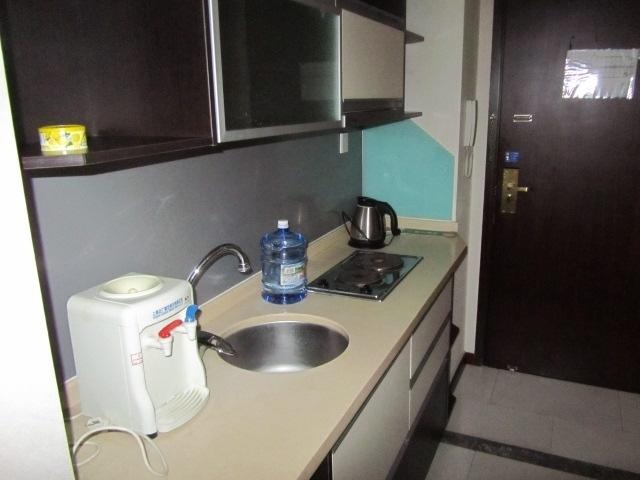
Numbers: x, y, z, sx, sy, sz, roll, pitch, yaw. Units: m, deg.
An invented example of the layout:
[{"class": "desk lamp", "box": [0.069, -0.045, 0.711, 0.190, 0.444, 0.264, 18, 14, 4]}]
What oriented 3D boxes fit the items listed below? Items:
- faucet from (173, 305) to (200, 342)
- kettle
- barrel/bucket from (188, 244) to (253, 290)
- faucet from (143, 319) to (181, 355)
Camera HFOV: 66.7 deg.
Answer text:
[{"class": "faucet", "box": [-0.363, 0.225, 1.330, 0.043, 0.103, 0.060, -1, -1, 1]}, {"class": "kettle", "box": [0.278, -0.124, 2.714, 0.334, 0.270, 0.342, 3, 19, 13]}, {"class": "barrel/bucket", "box": [-0.337, 0.052, 1.635, 0.181, 0.166, 0.180, 4, 14, -1]}, {"class": "faucet", "box": [-0.402, 0.255, 1.284, 0.036, 0.054, 0.128, 9, 11, 17]}]
